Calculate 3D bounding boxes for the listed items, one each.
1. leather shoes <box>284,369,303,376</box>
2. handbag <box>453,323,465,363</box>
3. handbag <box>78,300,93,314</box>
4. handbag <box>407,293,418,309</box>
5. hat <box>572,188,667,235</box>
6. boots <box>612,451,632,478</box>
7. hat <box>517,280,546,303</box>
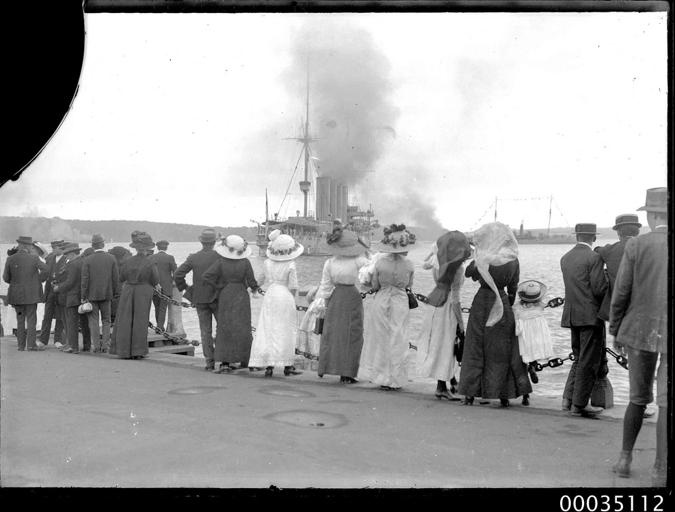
[{"bbox_3d":[-0.557,1.536,15.712,0.254,0.102,0.081,-1,2,-20],"label":"leather shoes"},{"bbox_3d":[1.435,1.062,13.942,0.117,0.457,0.295,3,9,5],"label":"handbag"},{"bbox_3d":[-3.792,0.786,17.706,0.152,0.218,0.236,1,-8,-26],"label":"handbag"},{"bbox_3d":[0.944,0.566,14.871,0.156,0.157,0.149,-18,-9,-13],"label":"handbag"},{"bbox_3d":[2.950,-0.361,11.615,0.810,0.362,1.060,2,-2,-15],"label":"hat"},{"bbox_3d":[2.754,1.962,11.437,0.169,0.258,0.271,4,9,13],"label":"boots"},{"bbox_3d":[2.265,0.421,13.800,0.317,0.225,0.341,4,9,11],"label":"hat"}]
